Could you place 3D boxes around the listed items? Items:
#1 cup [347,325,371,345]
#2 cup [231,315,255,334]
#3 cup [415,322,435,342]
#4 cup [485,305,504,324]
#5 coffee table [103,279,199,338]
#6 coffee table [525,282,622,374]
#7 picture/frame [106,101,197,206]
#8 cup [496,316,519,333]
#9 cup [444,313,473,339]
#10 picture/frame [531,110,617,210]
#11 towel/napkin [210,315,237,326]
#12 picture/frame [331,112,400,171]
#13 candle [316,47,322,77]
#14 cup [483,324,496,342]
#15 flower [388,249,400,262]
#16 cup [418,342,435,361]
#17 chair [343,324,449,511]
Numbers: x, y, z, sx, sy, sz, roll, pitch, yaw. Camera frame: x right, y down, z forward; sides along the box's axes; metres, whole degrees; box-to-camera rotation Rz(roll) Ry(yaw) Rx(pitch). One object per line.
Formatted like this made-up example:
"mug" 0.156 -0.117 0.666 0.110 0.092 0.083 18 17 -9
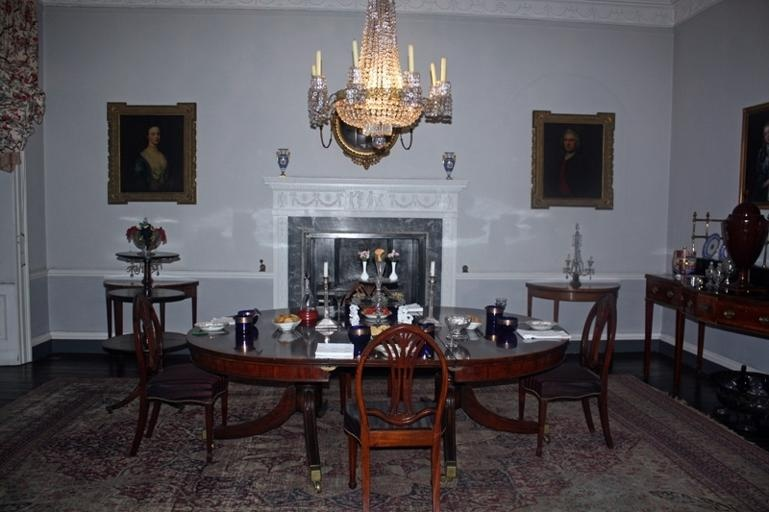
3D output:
"cup" -0.215 0.712 5.272 0.153 0.127 0.158 1 2 0
"cup" -1.303 0.637 5.476 0.154 0.130 0.162 1 2 0
"cup" 0.391 0.701 5.412 0.134 0.165 0.140 1 9 0
"cup" 1.104 0.590 5.855 0.151 0.183 0.174 1 10 -5
"coffee table" -2.993 0.537 7.589 1.182 1.177 0.731 -1 3 -19
"coffee table" 2.353 0.962 6.959 1.158 1.195 1.069 0 0 4
"picture/frame" -3.096 -1.413 7.770 1.238 1.520 0.066 0 2 -3
"cup" 1.180 0.659 5.626 0.134 0.111 0.166 0 -2 33
"cup" 0.677 0.653 5.454 0.191 0.148 0.200 0 3 0
"picture/frame" 2.532 -1.339 8.000 1.248 1.537 0.065 0 5 -1
"towel/napkin" -1.541 0.634 5.745 0.221 0.075 0.219 4 1 -13
"picture/frame" -0.274 -1.397 7.148 0.665 0.880 0.045 0 3 -5
"candle" -0.649 -1.907 5.843 0.051 0.254 0.155 -2 6 -8
"cup" 0.985 0.727 5.488 0.090 0.111 0.094 0 7 0
"flower" 0.077 -0.001 5.856 0.139 0.156 0.148 3 6 8
"cup" 0.367 0.831 5.017 0.131 0.246 0.123 -2 39 2
"chair" 0.092 1.325 5.096 0.871 1.615 0.799 -2 6 -5
